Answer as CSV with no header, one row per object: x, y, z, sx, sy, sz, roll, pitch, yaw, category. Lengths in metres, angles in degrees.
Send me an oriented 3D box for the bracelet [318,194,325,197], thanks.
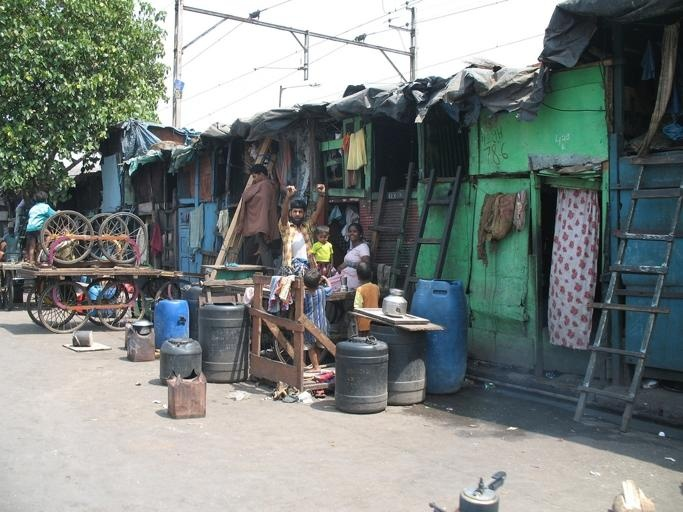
-0.335,-1.032,14.059,0.062,0.063,0.062,-1,9,-25,bracelet

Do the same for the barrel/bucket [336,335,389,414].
0.269,1.661,11.779,0.846,0.988,0.863,1,3,0,barrel/bucket

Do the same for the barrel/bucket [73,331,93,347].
-4.664,1.490,14.955,0.343,0.279,0.352,4,1,0,barrel/bucket

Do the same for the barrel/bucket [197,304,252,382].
-1.820,1.344,13.059,0.778,1.195,0.782,1,4,0,barrel/bucket

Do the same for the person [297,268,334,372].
-0.386,0.964,12.582,0.387,1.507,0.798,4,2,7,person

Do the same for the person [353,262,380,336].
0.373,0.679,12.848,0.367,1.129,0.629,3,2,1,person

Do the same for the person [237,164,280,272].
-1.679,-0.828,16.660,0.706,1.992,0.994,2,2,-25,person

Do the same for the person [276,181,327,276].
-0.701,-0.454,13.696,0.585,1.529,0.857,4,2,14,person

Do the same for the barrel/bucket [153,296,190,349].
-2.851,1.196,14.194,0.460,0.864,0.913,2,2,-39,barrel/bucket
